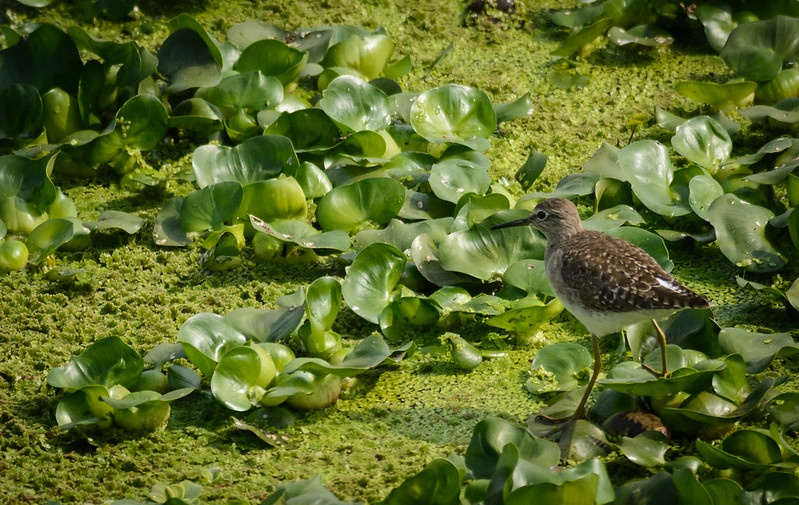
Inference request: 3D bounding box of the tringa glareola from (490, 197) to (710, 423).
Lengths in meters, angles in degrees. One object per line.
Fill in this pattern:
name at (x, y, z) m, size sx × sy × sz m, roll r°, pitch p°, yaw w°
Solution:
tringa glareola at (1.364, 0.320, 5.857) m, size 0.852 × 1.393 × 1.281 m, roll -13°, pitch 106°, yaw -38°
